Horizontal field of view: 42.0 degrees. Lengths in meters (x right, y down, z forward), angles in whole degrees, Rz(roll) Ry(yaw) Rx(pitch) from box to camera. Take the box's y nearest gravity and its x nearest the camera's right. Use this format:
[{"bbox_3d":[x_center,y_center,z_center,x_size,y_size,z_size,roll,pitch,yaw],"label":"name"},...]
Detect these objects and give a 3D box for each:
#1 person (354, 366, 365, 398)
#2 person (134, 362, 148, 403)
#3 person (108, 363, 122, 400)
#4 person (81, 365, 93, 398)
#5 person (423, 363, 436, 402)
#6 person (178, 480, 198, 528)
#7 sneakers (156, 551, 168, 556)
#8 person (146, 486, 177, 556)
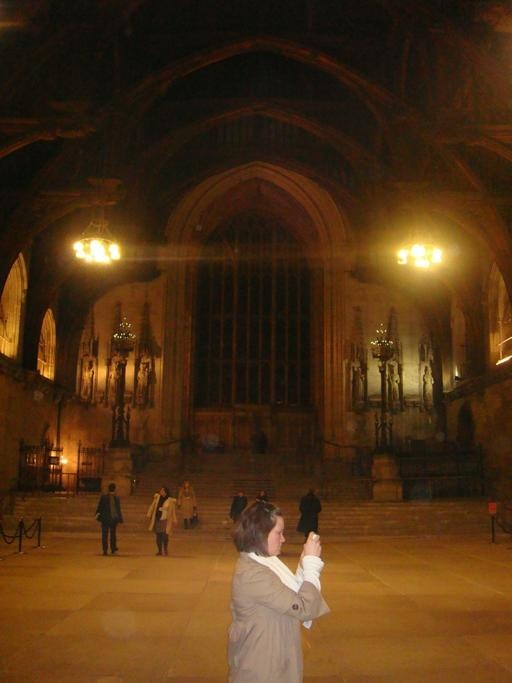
[{"bbox_3d":[3.954,1.611,25.568,0.415,1.030,0.190,-6,-3,6],"label":"person"},{"bbox_3d":[-4.468,1.635,25.875,0.599,1.657,0.225,-5,-3,-14],"label":"person"},{"bbox_3d":[-5.450,1.570,25.472,0.347,1.441,0.997,-4,-3,-27],"label":"person"},{"bbox_3d":[-6.523,1.625,25.751,0.503,1.289,0.182,-5,-3,1],"label":"person"},{"bbox_3d":[6.620,1.655,25.802,0.484,1.288,0.177,-6,-3,8],"label":"person"},{"bbox_3d":[-1.781,4.167,17.027,0.465,1.305,1.432,-5,-3,-8],"label":"person"},{"bbox_3d":[-1.802,4.060,12.701,0.207,0.131,0.070,-4,-12,17],"label":"sneakers"},{"bbox_3d":[-1.888,3.615,13.307,0.539,1.334,1.340,-5,-3,-10],"label":"person"}]
